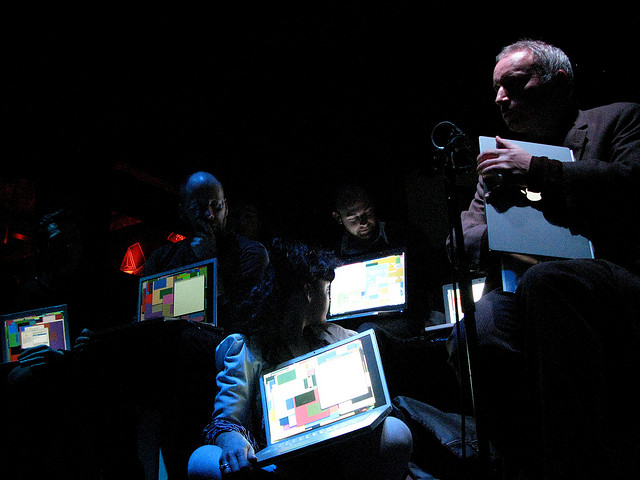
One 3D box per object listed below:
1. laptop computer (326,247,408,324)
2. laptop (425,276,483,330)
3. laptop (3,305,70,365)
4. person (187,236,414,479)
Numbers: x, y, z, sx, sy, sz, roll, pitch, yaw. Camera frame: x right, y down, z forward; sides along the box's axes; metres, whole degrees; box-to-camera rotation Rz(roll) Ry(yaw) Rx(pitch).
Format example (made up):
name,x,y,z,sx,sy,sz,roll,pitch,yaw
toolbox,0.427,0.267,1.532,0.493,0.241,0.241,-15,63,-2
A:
name,x,y,z,sx,sy,sz,roll,pitch,yaw
laptop computer,0.295,0.374,4.623,0.766,0.542,0.567,-11,-11,31
laptop,1.011,0.496,4.285,0.380,0.380,0.323,-14,-25,42
laptop,-2.570,0.844,5.131,0.593,0.530,0.141,-10,5,-1
person,-0.119,0.867,3.991,1.252,1.505,0.876,4,-43,-19
